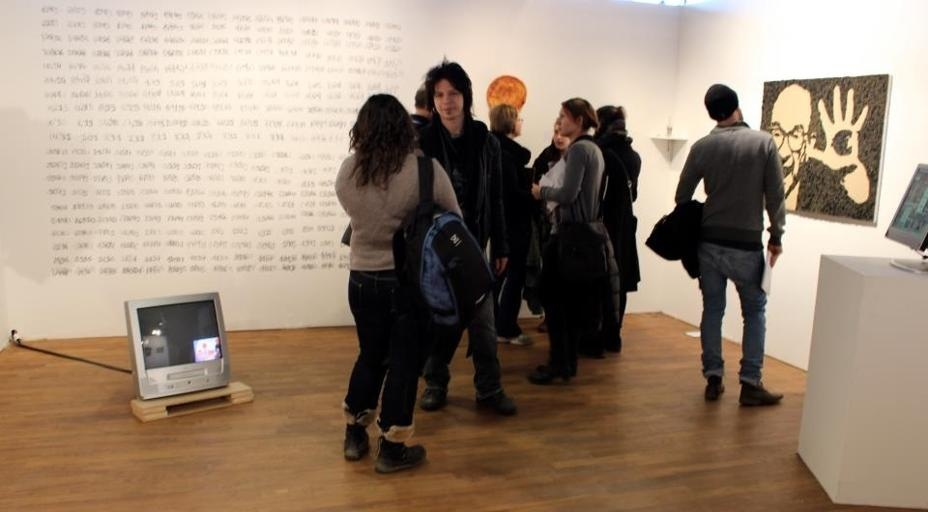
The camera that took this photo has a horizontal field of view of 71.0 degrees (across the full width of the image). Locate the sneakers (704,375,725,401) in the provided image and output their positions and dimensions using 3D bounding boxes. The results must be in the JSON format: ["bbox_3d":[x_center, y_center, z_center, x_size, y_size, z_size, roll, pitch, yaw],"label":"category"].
[{"bbox_3d":[2.232,1.184,5.831,0.141,0.235,0.257,0,9,15],"label":"sneakers"}]

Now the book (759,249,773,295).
[{"bbox_3d":[2.639,0.137,5.689,0.076,0.512,0.443,2,-3,32],"label":"book"}]

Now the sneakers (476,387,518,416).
[{"bbox_3d":[0.279,1.242,5.585,0.346,0.142,0.185,3,4,36],"label":"sneakers"}]
